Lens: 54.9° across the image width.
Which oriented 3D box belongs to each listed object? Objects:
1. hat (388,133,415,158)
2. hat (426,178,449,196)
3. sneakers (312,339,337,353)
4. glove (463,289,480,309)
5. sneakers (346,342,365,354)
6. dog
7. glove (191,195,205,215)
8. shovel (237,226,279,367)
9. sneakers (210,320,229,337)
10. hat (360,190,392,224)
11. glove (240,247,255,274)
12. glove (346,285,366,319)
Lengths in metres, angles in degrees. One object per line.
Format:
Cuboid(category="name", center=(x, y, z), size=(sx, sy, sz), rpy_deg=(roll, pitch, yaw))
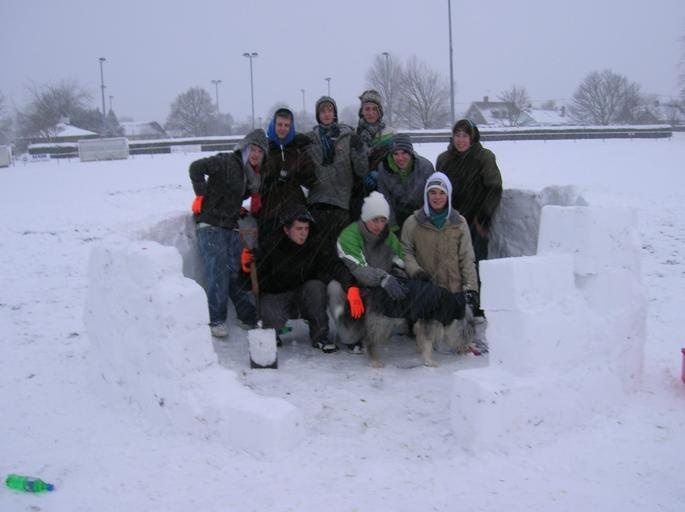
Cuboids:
Cuboid(category="hat", center=(0.591, -1.122, 6.664), size=(0.267, 0.211, 0.282), rpy_deg=(2, 12, -2))
Cuboid(category="hat", center=(0.876, -0.637, 6.087), size=(0.214, 0.147, 0.120), rpy_deg=(3, 11, 6))
Cuboid(category="sneakers", center=(-0.175, 0.825, 6.269), size=(0.106, 0.087, 0.189), rpy_deg=(6, 14, -40))
Cuboid(category="glove", center=(1.198, 0.394, 6.163), size=(0.120, 0.207, 0.060), rpy_deg=(3, -2, -3))
Cuboid(category="sneakers", center=(0.119, 0.883, 6.283), size=(0.124, 0.060, 0.091), rpy_deg=(1, 0, 30))
Cuboid(category="dog", center=(0.567, 0.561, 6.018), size=(1.291, 0.891, 0.466), rpy_deg=(4, 16, -5))
Cuboid(category="glove", center=(-1.399, -0.486, 6.306), size=(0.042, 0.183, 0.117), rpy_deg=(11, -11, -41))
Cuboid(category="shovel", center=(-0.815, 0.464, 6.033), size=(0.236, 0.120, 1.363), rpy_deg=(-4, 46, -9))
Cuboid(category="sneakers", center=(-1.194, 0.713, 6.315), size=(0.161, 0.138, 0.128), rpy_deg=(-2, 12, -17))
Cuboid(category="hat", center=(0.285, -0.479, 6.171), size=(0.197, 0.270, 0.286), rpy_deg=(-6, 37, -29))
Cuboid(category="glove", center=(-0.902, 0.046, 6.234), size=(0.133, 0.216, 0.072), rpy_deg=(0, 26, 7))
Cuboid(category="glove", center=(0.098, 0.434, 5.955), size=(0.171, 0.085, 0.321), rpy_deg=(9, 49, -17))
